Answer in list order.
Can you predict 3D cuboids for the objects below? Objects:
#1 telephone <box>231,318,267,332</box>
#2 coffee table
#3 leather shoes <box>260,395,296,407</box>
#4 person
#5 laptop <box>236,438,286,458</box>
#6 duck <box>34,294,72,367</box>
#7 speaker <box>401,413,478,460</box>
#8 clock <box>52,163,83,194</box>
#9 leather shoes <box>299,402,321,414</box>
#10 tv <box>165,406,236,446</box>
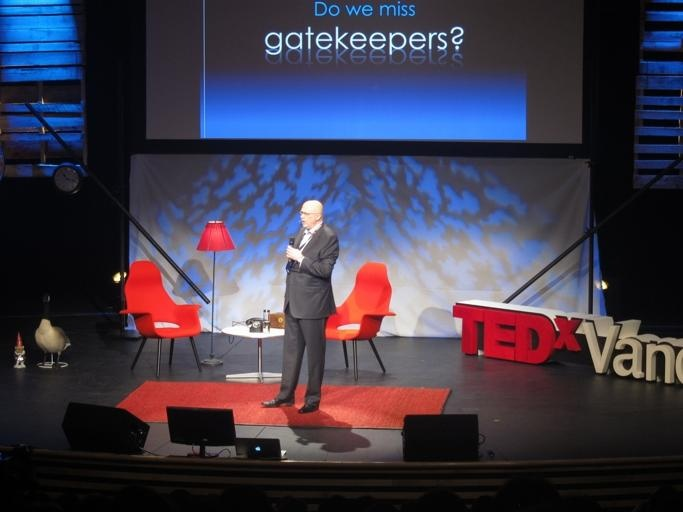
[{"bbox_3d":[-1.000,0.765,7.652,0.246,0.130,0.361,3,4,44],"label":"telephone"},{"bbox_3d":[-0.914,1.038,7.538,0.638,0.443,0.653,4,10,21],"label":"coffee table"},{"bbox_3d":[-0.577,1.344,6.400,0.315,0.128,0.108,6,-4,-4],"label":"leather shoes"},{"bbox_3d":[-0.328,0.453,6.381,0.520,1.897,0.418,2,-3,-8],"label":"person"},{"bbox_3d":[-0.588,1.361,4.975,0.199,0.124,0.183,2,-8,6],"label":"laptop"},{"bbox_3d":[-3.267,0.852,8.024,0.351,0.789,0.901,3,-4,-22],"label":"duck"},{"bbox_3d":[0.680,1.266,4.875,0.457,0.329,0.300,1,-3,4],"label":"speaker"},{"bbox_3d":[-3.505,-0.992,9.071,0.372,0.399,0.190,0,-3,25],"label":"clock"},{"bbox_3d":[-0.292,1.361,6.299,0.197,0.077,0.074,3,-1,-39],"label":"leather shoes"},{"bbox_3d":[-1.019,1.241,5.097,0.390,0.272,0.115,2,9,5],"label":"tv"}]
